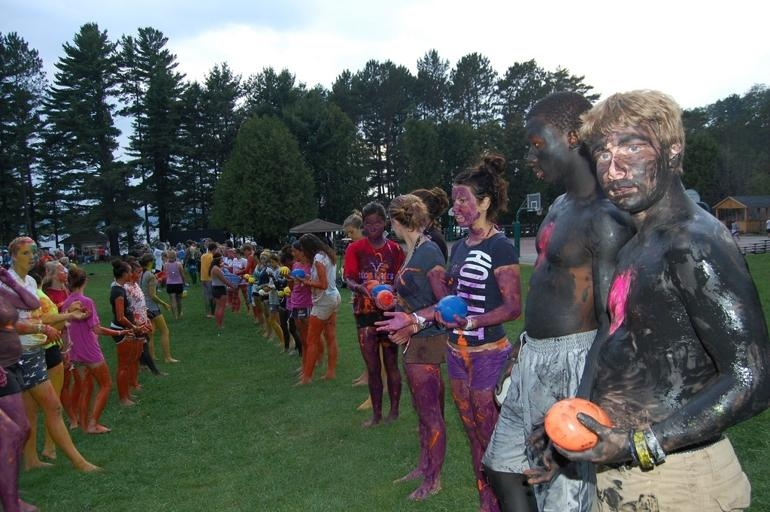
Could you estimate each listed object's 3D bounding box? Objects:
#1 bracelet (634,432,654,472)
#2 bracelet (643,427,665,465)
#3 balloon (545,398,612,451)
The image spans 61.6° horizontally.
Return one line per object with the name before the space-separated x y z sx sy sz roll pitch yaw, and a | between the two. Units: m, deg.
bracelet | 1.790 1.381 4.552 0.087 0.239 0.177 -22 13 22
bracelet | 1.875 1.343 4.512 0.135 0.225 0.064 -27 -2 -16
balloon | 1.368 1.218 4.669 0.382 0.396 0.223 25 -35 13
